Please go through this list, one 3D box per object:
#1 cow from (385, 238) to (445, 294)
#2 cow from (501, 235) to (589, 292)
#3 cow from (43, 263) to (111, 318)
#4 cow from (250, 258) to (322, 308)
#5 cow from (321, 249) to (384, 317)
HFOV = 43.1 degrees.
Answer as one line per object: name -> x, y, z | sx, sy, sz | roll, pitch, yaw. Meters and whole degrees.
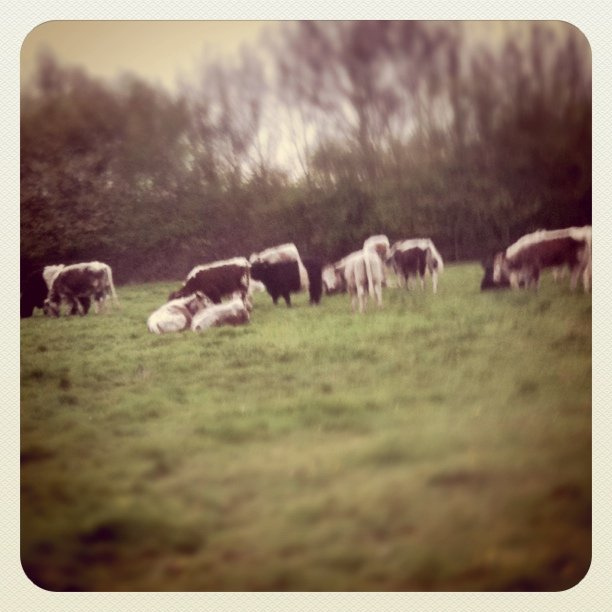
cow -> 0.565, -0.161, 3.591 | 0.111, 0.215, 0.361 | -20, -4, 9
cow -> 1.073, -0.176, 3.521 | 0.412, 0.328, 0.118 | -9, 15, 21
cow -> -1.019, -0.088, 3.466 | 0.313, 0.264, 0.143 | -2, 11, 23
cow -> -0.062, -0.108, 3.527 | 0.342, 0.255, 0.167 | -5, -12, -14
cow -> 0.223, -0.106, 3.481 | 0.193, 0.206, 0.324 | -9, 11, -1
